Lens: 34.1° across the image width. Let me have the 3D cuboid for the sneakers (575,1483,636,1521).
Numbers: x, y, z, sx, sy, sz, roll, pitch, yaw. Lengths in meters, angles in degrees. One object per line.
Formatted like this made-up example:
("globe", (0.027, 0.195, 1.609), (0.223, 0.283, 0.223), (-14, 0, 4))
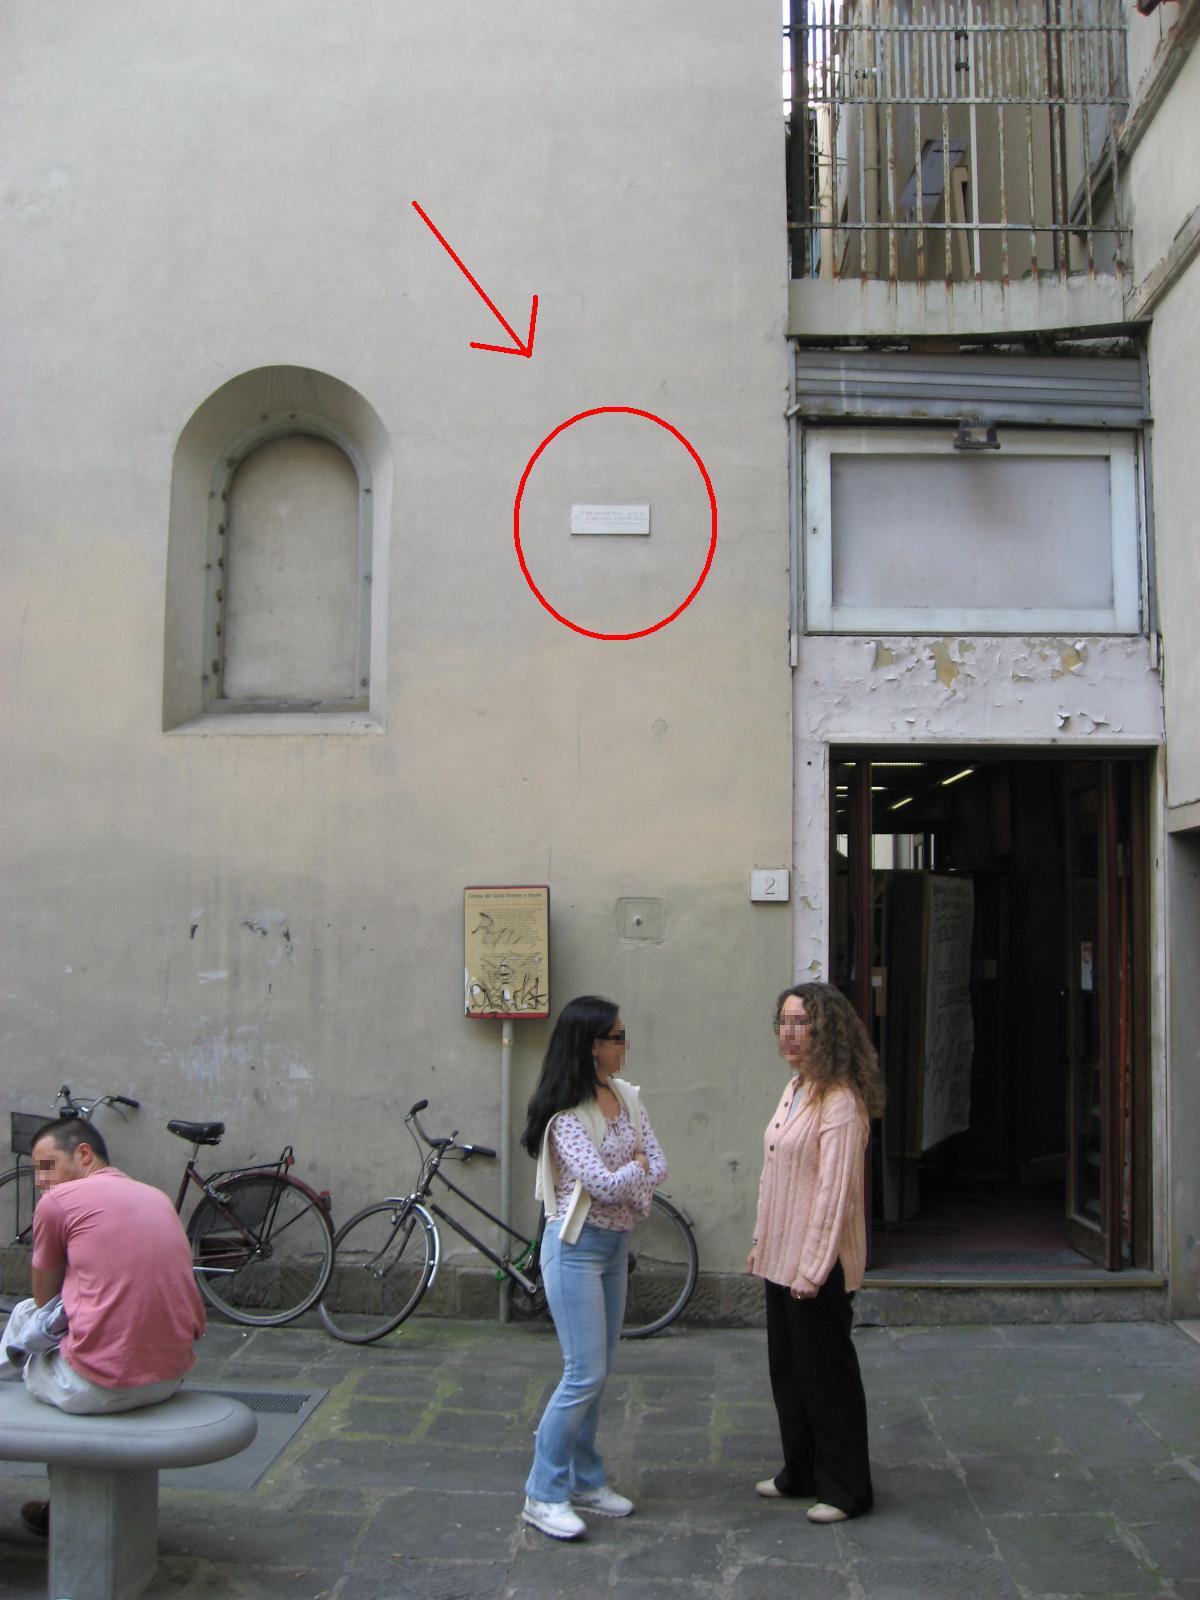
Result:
("sneakers", (0.026, 2.224, 6.250), (0.163, 0.100, 0.087), (1, -7, 4))

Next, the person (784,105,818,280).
("person", (0.951, -2.896, 9.336), (0.088, 0.997, 0.152), (5, -17, -15))

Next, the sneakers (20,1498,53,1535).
("sneakers", (-1.718, 2.203, 6.042), (0.045, 0.062, 0.134), (4, -2, -9))

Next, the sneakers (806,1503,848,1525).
("sneakers", (0.711, 2.244, 6.178), (0.126, 0.062, 0.061), (0, 2, 5))

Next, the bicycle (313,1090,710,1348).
("bicycle", (-0.389, 1.869, 8.765), (1.490, 1.252, 0.841), (1, -8, 0))

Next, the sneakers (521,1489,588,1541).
("sneakers", (-0.135, 2.221, 6.125), (0.205, 0.119, 0.084), (-7, -13, 40))

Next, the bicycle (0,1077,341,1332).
("bicycle", (-1.906, 1.746, 8.563), (1.511, 1.220, 0.796), (4, -6, 7))

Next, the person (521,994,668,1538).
("person", (-0.008, 1.455, 6.143), (0.417, 1.659, 0.325), (-1, 1, -27))

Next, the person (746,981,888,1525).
("person", (0.681, 1.435, 6.262), (0.410, 1.678, 0.427), (0, 1, 7))
